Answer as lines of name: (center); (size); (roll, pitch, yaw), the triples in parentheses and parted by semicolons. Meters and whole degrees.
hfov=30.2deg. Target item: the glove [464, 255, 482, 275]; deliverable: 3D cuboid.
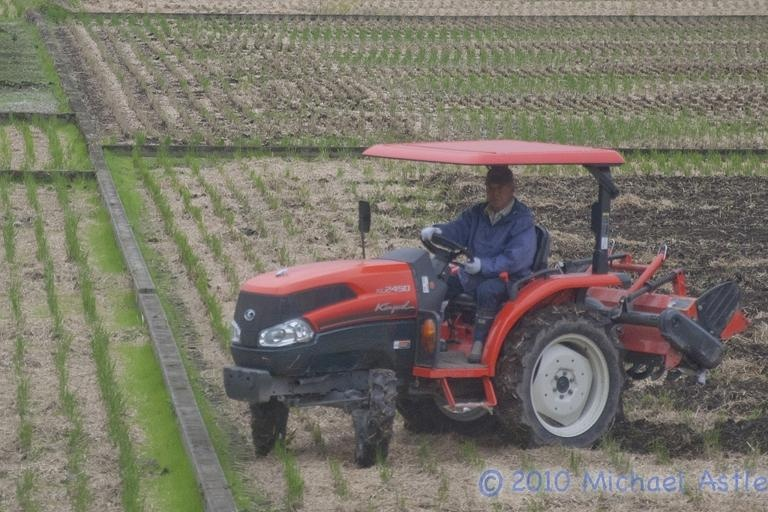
glove: (1.339, 0.139, 20.894); (0.244, 0.260, 0.185); (3, 1, -11)

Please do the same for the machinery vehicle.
machinery vehicle: (1.265, 0.450, 21.651); (6.949, 4.344, 4.137); (0, 2, -23)

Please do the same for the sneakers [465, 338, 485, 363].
sneakers: (1.372, 1.387, 20.721); (0.244, 0.281, 0.213); (-1, 23, 10)

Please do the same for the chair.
chair: (1.890, 0.196, 21.620); (1.476, 1.769, 1.159); (5, -1, -27)

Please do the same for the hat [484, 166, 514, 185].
hat: (1.754, -1.242, 21.070); (0.241, 0.331, 0.343); (10, 21, 37)
